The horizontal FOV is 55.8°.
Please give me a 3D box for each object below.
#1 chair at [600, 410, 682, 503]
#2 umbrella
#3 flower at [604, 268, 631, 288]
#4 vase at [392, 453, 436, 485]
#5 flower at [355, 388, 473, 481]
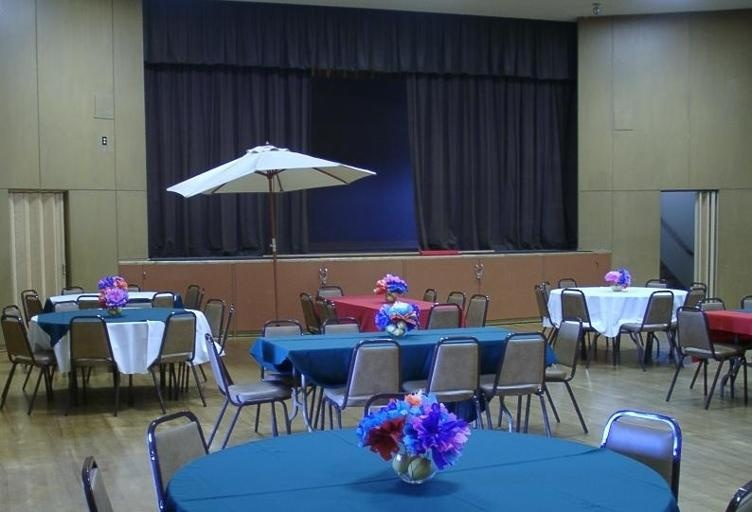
[{"bbox_3d":[1.994,1.375,5.351,0.512,1.034,0.622,2,2,34],"label":"chair"},{"bbox_3d":[-1.577,-0.063,10.101,2.460,2.500,2.517,-6,10,-30],"label":"umbrella"},{"bbox_3d":[3.620,0.339,10.702,0.362,0.301,0.381,-1,-2,33],"label":"flower"},{"bbox_3d":[0.241,1.383,4.646,0.189,0.153,0.210,6,-7,-14],"label":"vase"},{"bbox_3d":[0.234,1.167,4.665,0.573,0.561,0.588,-4,-8,36],"label":"flower"}]
